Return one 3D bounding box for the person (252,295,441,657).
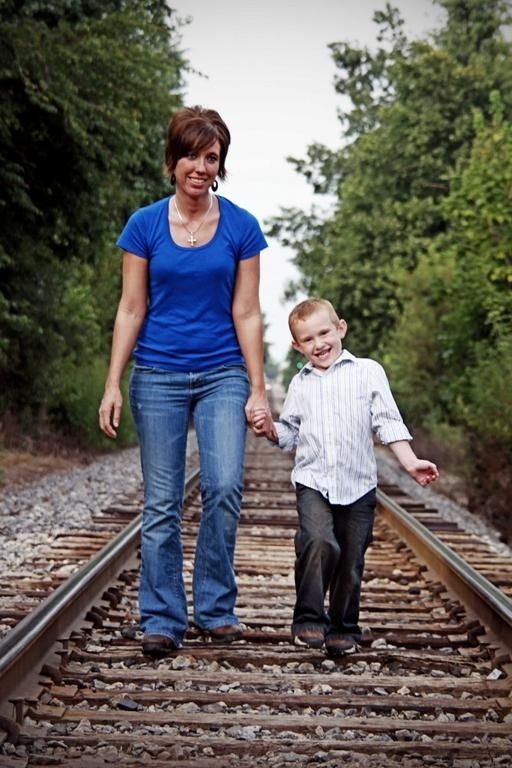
[{"bbox_3d":[0.267,0.328,2.773,0.581,1.315,0.404,3,-3,8],"label":"person"}]

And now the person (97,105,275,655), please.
[{"bbox_3d":[-0.249,-0.018,2.832,0.650,2.009,0.513,4,-3,-12],"label":"person"}]

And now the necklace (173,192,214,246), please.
[{"bbox_3d":[-0.238,-0.615,2.781,0.153,0.229,0.118,3,-3,-4],"label":"necklace"}]

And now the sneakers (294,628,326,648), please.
[{"bbox_3d":[0.190,0.901,2.712,0.082,0.047,0.109,9,-13,-29],"label":"sneakers"}]

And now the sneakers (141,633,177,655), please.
[{"bbox_3d":[-0.338,0.921,2.655,0.136,0.071,0.106,5,-3,-19],"label":"sneakers"}]
